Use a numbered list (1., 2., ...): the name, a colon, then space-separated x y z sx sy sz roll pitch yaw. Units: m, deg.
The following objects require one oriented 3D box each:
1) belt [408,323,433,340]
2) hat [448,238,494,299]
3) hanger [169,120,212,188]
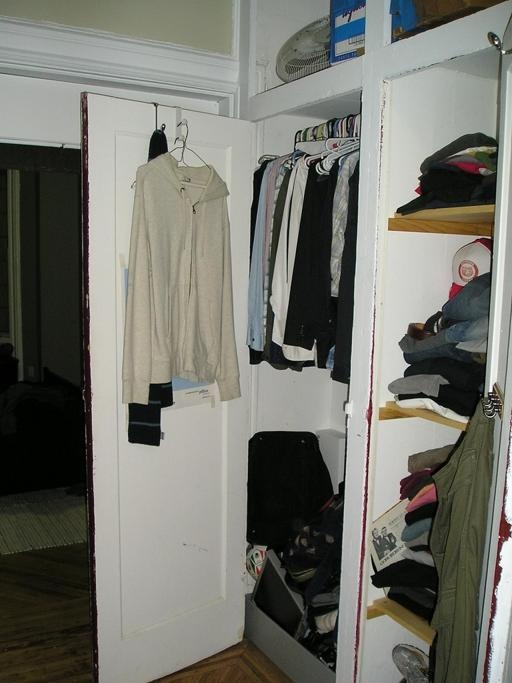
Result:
1. belt: 0.446 -0.028 1.680 0.031 0.039 0.047 3 14 -3
2. hat: 0.584 -0.215 1.627 0.099 0.129 0.118 2 7 7
3. hanger: -0.229 -0.637 1.944 0.185 0.152 0.014 20 30 29
